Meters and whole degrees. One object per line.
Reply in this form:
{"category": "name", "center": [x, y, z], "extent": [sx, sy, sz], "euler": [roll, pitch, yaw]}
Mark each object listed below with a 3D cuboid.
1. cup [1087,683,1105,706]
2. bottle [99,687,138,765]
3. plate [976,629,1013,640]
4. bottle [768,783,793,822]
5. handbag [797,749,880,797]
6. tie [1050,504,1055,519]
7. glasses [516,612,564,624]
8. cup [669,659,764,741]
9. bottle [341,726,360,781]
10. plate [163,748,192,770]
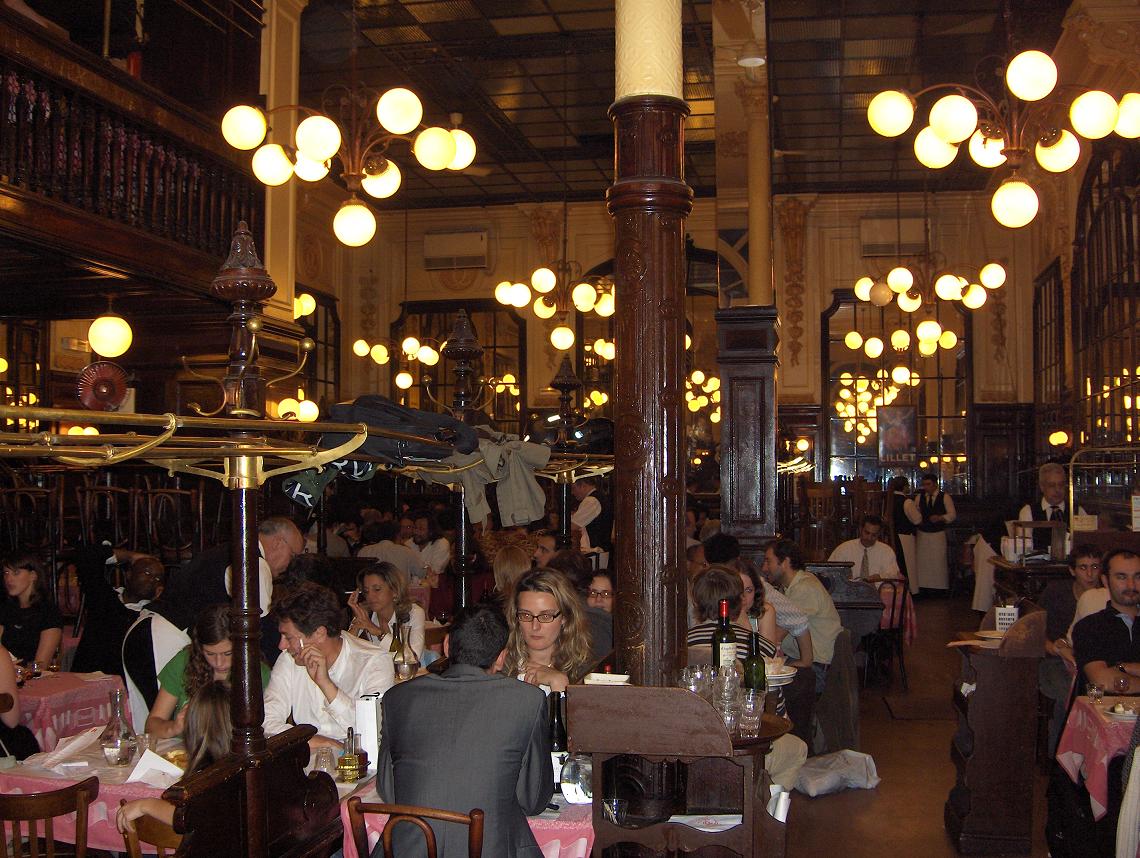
{"category": "cup", "center": [3.091, 1.561, 7.564], "extent": [0.071, 0.079, 0.073], "euler": [-1, -4, 0]}
{"category": "bottle", "center": [-2.354, 1.559, 6.762], "extent": [0.176, 0.358, 0.330], "euler": [1, -7, -20]}
{"category": "plate", "center": [2.788, 1.355, 8.538], "extent": [0.173, 0.046, 0.489], "euler": [-3, -8, 16]}
{"category": "bottle", "center": [0.993, 1.774, 6.120], "extent": [0.081, 0.136, 0.440], "euler": [-2, -7, 12]}
{"category": "handbag", "center": [1.815, 2.345, 8.841], "extent": [0.614, 0.259, 0.320], "euler": [2, -7, -21]}
{"category": "tie", "center": [4.671, 0.798, 12.449], "extent": [0.060, 0.092, 0.034], "euler": [-2, -11, 31]}
{"category": "glasses", "center": [-0.157, 1.010, 6.900], "extent": [0.223, 0.065, 0.099], "euler": [-1, -7, 0]}
{"category": "cup", "center": [0.678, 1.247, 5.940], "extent": [0.371, 0.394, 0.234], "euler": [-2, -3, 13]}
{"category": "bottle", "center": [-1.112, 1.649, 6.541], "extent": [0.106, 0.251, 0.185], "euler": [0, -7, -10]}
{"category": "plate", "center": [-2.018, 1.684, 6.636], "extent": [0.127, 0.046, 0.100], "euler": [15, 8, 37]}
